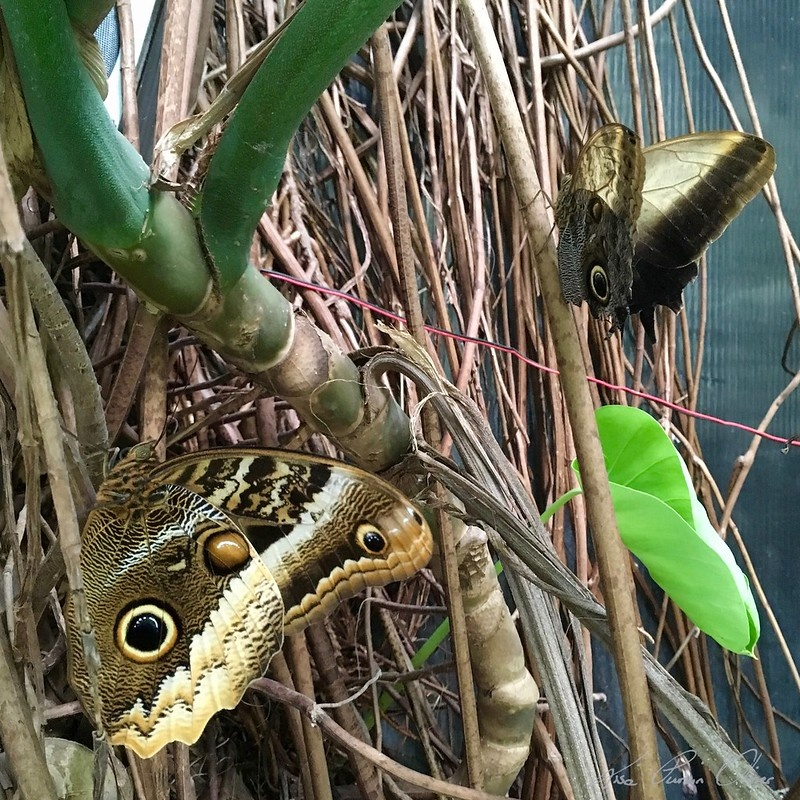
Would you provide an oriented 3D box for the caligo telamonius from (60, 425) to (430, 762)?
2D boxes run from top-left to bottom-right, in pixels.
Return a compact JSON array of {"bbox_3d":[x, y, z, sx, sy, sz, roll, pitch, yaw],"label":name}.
[{"bbox_3d":[-0.079,0.181,1.055,0.290,0.192,0.205,18,76,1],"label":"caligo telamonius"}]
